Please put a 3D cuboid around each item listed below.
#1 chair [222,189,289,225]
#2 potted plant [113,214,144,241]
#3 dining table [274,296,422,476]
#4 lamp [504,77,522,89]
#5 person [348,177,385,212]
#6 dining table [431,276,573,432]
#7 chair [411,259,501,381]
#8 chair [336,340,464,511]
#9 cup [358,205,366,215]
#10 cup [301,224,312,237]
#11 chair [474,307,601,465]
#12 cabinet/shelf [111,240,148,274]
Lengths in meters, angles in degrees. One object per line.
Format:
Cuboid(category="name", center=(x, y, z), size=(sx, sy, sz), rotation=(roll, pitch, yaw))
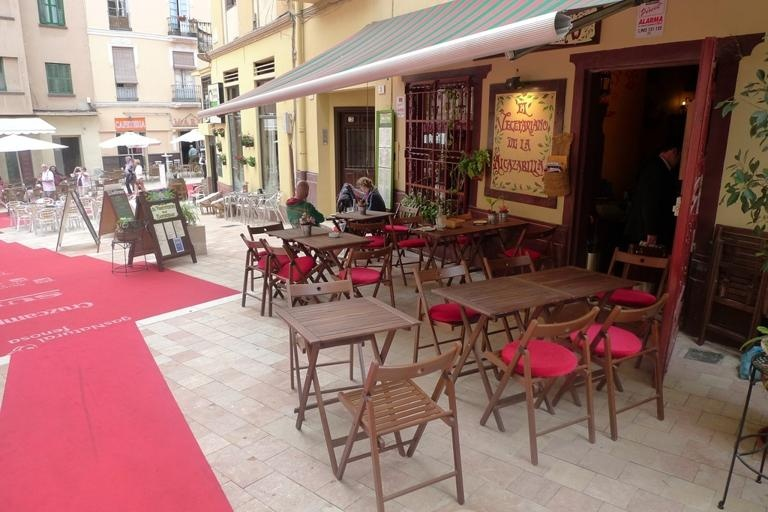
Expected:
Cuboid(category="chair", center=(-3.941, -1.517, 15.023), size=(0.560, 0.562, 1.820), rotation=(-17, 23, -39))
Cuboid(category="potted plant", center=(-5.237, -0.625, 10.035), size=(0.503, 0.499, 0.490), rotation=(24, 20, 33))
Cuboid(category="dining table", center=(-0.378, 1.172, 5.873), size=(1.724, 1.823, 1.625), rotation=(-10, 24, -27))
Cuboid(category="lamp", center=(2.310, -3.061, 8.594), size=(0.246, 0.191, 0.199), rotation=(-10, -9, 34))
Cuboid(category="person", center=(-0.335, -1.265, 10.511), size=(0.649, 0.872, 0.621), rotation=(-24, 17, -33))
Cuboid(category="dining table", center=(1.379, 0.994, 6.034), size=(1.557, 1.501, 1.634), rotation=(-9, 16, -27))
Cuboid(category="chair", center=(0.918, 0.798, 6.038), size=(0.933, 1.266, 0.984), rotation=(-9, 14, -38))
Cuboid(category="chair", center=(0.135, 1.500, 4.483), size=(1.196, 1.433, 0.840), rotation=(-5, 15, -11))
Cuboid(category="cup", center=(-0.425, -0.926, 9.718), size=(0.179, 0.126, 0.139), rotation=(1, 0, -39))
Cuboid(category="cup", center=(-1.258, -0.442, 7.969), size=(0.143, 0.164, 0.202), rotation=(-1, 1, -4))
Cuboid(category="chair", center=(1.638, 1.214, 5.154), size=(0.868, 1.376, 1.053), rotation=(-6, 9, -24))
Cuboid(category="cabinet/shelf", center=(-5.404, 0.021, 10.323), size=(0.716, 0.746, 0.724), rotation=(10, 6, 42))
